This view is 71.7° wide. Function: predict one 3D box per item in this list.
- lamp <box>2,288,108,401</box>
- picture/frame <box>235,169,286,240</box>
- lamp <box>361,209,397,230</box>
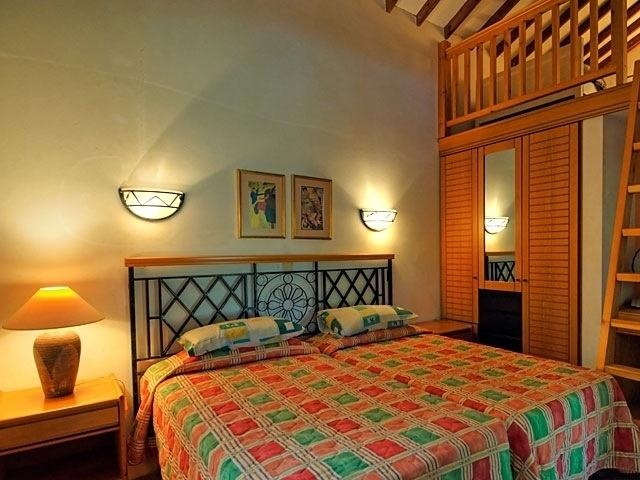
[{"bbox_3d":[-1.819,0.698,3.147,0.643,0.784,0.661,-6,-6,38],"label":"lamp"},{"bbox_3d":[-0.535,-0.307,3.811,0.592,0.795,0.030,1,-4,-34],"label":"picture/frame"},{"bbox_3d":[0.607,-0.194,4.437,0.421,0.245,0.150,-6,10,-28],"label":"lamp"}]
